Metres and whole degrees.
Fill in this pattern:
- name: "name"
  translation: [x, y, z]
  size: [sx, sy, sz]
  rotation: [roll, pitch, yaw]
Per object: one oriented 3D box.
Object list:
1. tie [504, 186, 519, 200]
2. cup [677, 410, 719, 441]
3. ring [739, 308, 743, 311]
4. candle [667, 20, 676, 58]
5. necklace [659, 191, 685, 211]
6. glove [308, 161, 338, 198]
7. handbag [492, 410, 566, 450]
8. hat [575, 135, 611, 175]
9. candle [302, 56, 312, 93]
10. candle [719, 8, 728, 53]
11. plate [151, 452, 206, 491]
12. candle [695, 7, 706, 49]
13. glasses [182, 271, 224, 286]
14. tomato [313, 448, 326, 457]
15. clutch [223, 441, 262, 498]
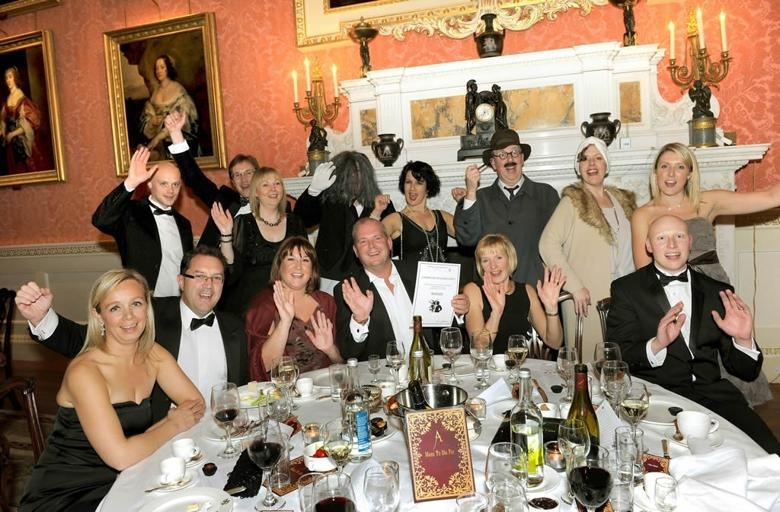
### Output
- name: "tie"
  translation: [1.078, -0.561, 5.375]
  size: [0.106, 0.113, 0.034]
  rotation: [-4, -13, 15]
- name: "cup"
  translation: [1.650, 0.901, 3.288]
  size: [0.162, 0.122, 0.137]
  rotation: [0, 0, 14]
- name: "ring"
  translation: [2.214, 0.337, 3.849]
  size: [0.021, 0.014, 0.009]
  rotation: [-2, 12, 32]
- name: "candle"
  translation: [2.680, -2.050, 5.803]
  size: [0.067, 0.374, 0.384]
  rotation: [-2, 12, 25]
- name: "necklace"
  translation: [2.293, -0.443, 4.948]
  size: [0.138, 0.075, 0.203]
  rotation: [1, -3, 21]
- name: "glove"
  translation: [-0.653, -0.743, 5.878]
  size: [0.225, 0.361, 0.087]
  rotation: [25, 6, -4]
- name: "handbag"
  translation: [0.744, 0.947, 3.338]
  size: [0.366, 0.125, 0.333]
  rotation: [-5, 10, 18]
- name: "hat"
  translation: [1.789, -0.883, 5.408]
  size: [0.271, 0.369, 0.198]
  rotation: [0, 0, 17]
- name: "candle"
  translation: [-0.903, -2.008, 6.714]
  size: [0.077, 0.355, 0.146]
  rotation: [-8, 11, -5]
- name: "candle"
  translation: [3.113, -2.096, 5.708]
  size: [0.067, 0.407, 0.416]
  rotation: [-2, 12, 29]
- name: "plate"
  translation: [-1.129, 1.152, 3.271]
  size: [0.173, 0.075, 0.179]
  rotation: [1, 0, 1]
- name: "candle"
  translation: [2.919, -2.136, 5.747]
  size: [0.076, 0.407, 0.377]
  rotation: [-2, 12, 27]
- name: "glasses"
  translation: [-1.329, 0.161, 4.306]
  size: [0.288, 0.110, 0.111]
  rotation: [-9, 10, -5]
- name: "tomato"
  translation: [-0.375, 1.058, 3.297]
  size: [0.078, 0.039, 0.053]
  rotation: [-8, 10, 2]
- name: "clutch"
  translation: [-0.765, 1.144, 3.237]
  size: [0.168, 0.294, 0.035]
  rotation: [4, 37, -13]
